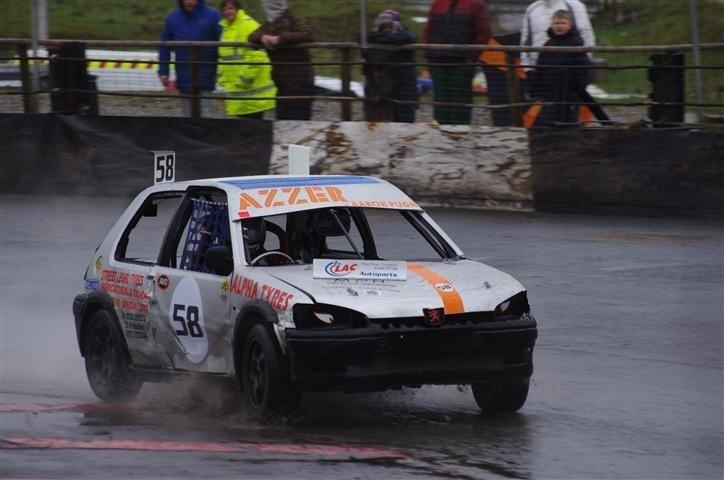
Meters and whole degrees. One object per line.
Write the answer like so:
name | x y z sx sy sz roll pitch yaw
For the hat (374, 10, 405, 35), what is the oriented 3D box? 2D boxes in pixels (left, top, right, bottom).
hat | 0.354 -3.212 18.319 0.444 0.290 0.325 17 18 32

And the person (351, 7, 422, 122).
person | 0.423 -2.526 18.150 0.827 1.562 0.688 2 15 -1

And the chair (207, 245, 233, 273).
chair | -1.253 0.178 10.932 0.323 0.220 0.162 3 4 -10

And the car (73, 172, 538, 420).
car | -0.611 0.558 11.993 2.848 1.525 4.339 -3 2 -39

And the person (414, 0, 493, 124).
person | 1.317 -2.535 17.765 0.928 1.765 0.559 7 16 18

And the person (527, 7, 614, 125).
person | 2.903 -2.396 17.466 1.049 1.612 0.461 4 15 5
